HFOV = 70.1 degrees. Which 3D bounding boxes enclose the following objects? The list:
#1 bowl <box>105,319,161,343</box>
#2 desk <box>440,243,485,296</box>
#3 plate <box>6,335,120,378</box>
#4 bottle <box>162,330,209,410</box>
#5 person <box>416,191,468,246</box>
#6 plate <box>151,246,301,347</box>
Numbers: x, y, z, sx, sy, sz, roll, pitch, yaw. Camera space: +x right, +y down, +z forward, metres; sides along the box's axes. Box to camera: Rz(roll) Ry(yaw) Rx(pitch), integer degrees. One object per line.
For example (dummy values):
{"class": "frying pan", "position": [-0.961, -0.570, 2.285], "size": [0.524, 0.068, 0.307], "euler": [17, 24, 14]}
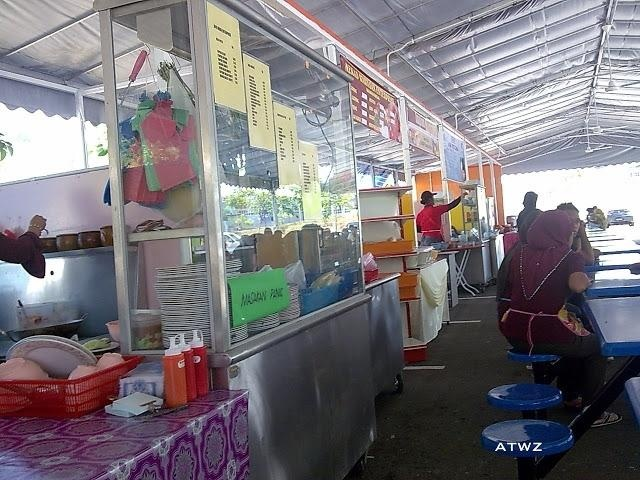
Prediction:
{"class": "bowl", "position": [-0.792, 0.388, 1.940], "size": [0.165, 0.106, 0.164], "euler": [-1, -7, 0]}
{"class": "desk", "position": [2.715, 0.594, 8.526], "size": [0.686, 0.989, 2.345], "euler": [-6, 1, 19]}
{"class": "plate", "position": [-0.996, 0.405, 1.730], "size": [0.244, 0.239, 0.039], "euler": [6, 32, -6]}
{"class": "bottle", "position": [-0.483, 0.479, 1.644], "size": [0.099, 0.298, 0.231], "euler": [-4, -2, 29]}
{"class": "person", "position": [2.217, -0.103, 8.533], "size": [0.810, 1.506, 0.587], "euler": [-1, -2, 33]}
{"class": "plate", "position": [-0.397, 0.227, 1.959], "size": [0.575, 0.394, 0.281], "euler": [-7, 1, -22]}
